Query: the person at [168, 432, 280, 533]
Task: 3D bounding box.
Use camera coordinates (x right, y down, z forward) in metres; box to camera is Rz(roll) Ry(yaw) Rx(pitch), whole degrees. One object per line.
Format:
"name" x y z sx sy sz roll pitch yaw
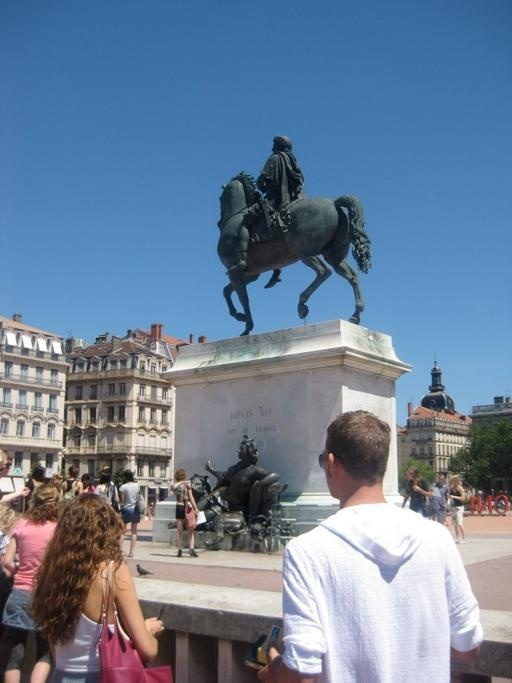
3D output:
"person" -0.430 2.341 11.279 1.546 1.471 1.149 3 -10 34

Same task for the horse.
"horse" 0.424 -1.865 13.442 1.139 3.511 4.781 7 -7 -40

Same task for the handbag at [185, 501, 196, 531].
"handbag" -1.011 2.660 10.634 0.190 0.382 0.375 2 -8 -5
